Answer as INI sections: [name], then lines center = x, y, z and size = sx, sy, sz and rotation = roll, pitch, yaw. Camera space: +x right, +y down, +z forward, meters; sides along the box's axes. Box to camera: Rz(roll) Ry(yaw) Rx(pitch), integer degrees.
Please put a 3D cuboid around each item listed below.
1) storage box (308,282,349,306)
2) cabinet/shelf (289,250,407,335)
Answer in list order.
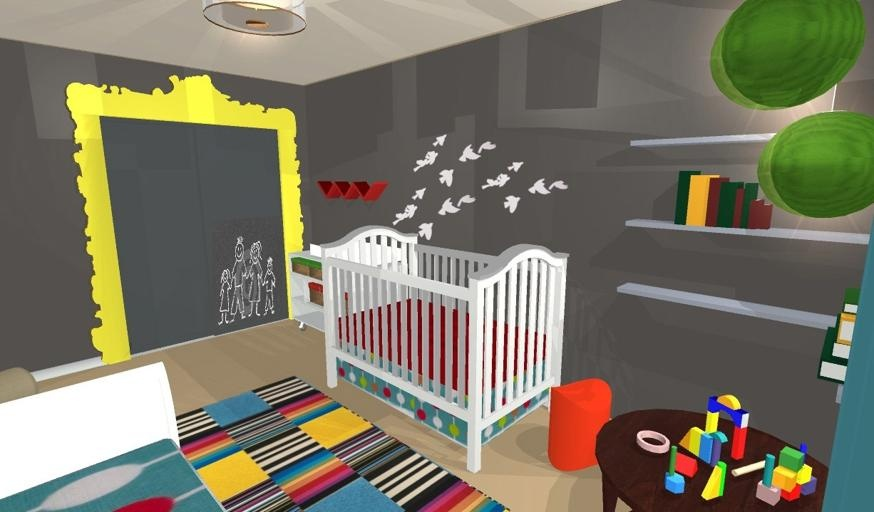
[storage box]
center = -1.081, 0.385, 5.114
size = 0.324, 0.187, 0.176
rotation = 8, 12, 39
[cabinet/shelf]
center = -0.838, 0.359, 4.953
size = 0.375, 0.809, 0.924
rotation = -13, 17, -42
